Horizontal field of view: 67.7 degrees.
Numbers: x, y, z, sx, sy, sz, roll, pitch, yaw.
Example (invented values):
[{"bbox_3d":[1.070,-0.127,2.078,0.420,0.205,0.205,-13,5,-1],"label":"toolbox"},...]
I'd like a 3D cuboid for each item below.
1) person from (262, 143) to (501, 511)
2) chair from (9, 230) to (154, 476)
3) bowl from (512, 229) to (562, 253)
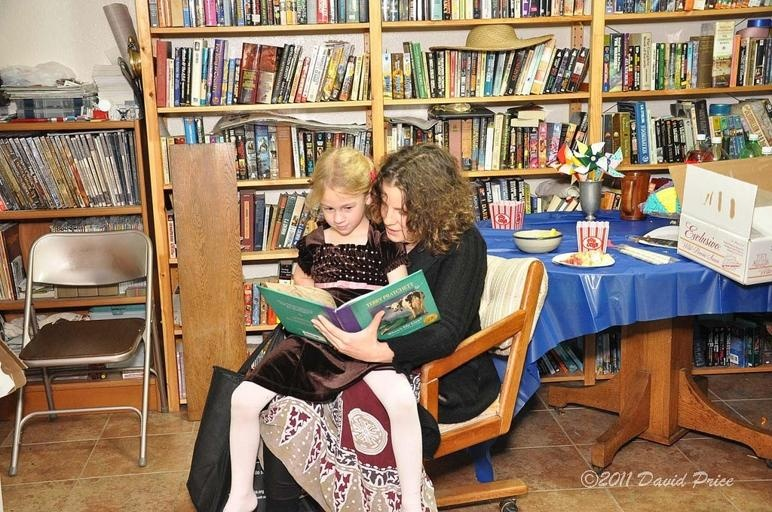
[{"bbox_3d":[-0.005,0.298,2.212,0.630,1.349,1.022,15,25,42],"label":"person"},{"bbox_3d":[-1.658,0.445,3.140,0.802,1.113,0.763,-2,18,0],"label":"chair"},{"bbox_3d":[0.712,-0.071,2.705,0.161,0.066,0.153,-2,7,0],"label":"bowl"}]
